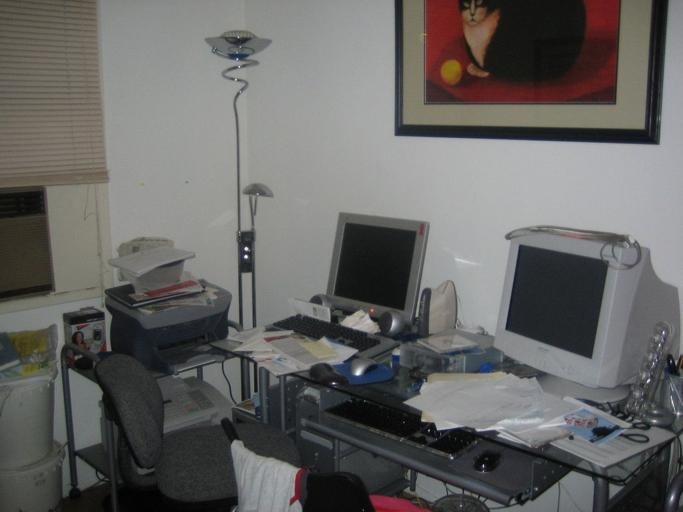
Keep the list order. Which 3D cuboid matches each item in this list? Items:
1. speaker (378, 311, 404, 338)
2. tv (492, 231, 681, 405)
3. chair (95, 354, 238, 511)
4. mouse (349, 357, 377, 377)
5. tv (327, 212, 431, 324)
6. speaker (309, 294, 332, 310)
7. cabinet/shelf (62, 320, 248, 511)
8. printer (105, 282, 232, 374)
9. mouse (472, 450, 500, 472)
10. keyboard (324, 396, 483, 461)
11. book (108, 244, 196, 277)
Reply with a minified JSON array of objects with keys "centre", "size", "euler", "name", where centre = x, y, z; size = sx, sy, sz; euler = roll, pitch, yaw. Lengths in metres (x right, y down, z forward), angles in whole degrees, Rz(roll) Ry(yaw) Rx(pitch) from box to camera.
[{"centre":[0.226,0.302,2.528],"size":[0.080,0.115,0.101],"euler":[-2,10,-18],"name":"speaker"},{"centre":[0.960,0.100,2.329],"size":[0.566,0.710,0.681],"euler":[-10,12,-35],"name":"tv"},{"centre":[-0.709,0.604,2.244],"size":[0.415,0.626,0.376],"euler":[-11,28,-23],"name":"chair"},{"centre":[0.078,0.431,2.244],"size":[0.052,0.029,0.089],"euler":[20,35,34],"name":"mouse"},{"centre":[0.180,0.067,2.682],"size":[0.464,0.445,0.052],"euler":[10,1,39],"name":"tv"},{"centre":[-0.106,0.219,2.822],"size":[0.085,0.070,0.124],"euler":[20,11,-2],"name":"speaker"},{"centre":[-0.859,0.714,2.537],"size":[0.730,0.931,0.521],"euler":[-13,22,-41],"name":"cabinet/shelf"},{"centre":[-0.866,0.333,2.837],"size":[0.448,0.364,0.534],"euler":[10,13,34],"name":"printer"},{"centre":[0.511,0.712,1.943],"size":[0.119,0.038,0.060],"euler":[-8,12,-39],"name":"mouse"},{"centre":[0.233,0.637,2.081],"size":[0.497,0.034,0.163],"euler":[8,21,44],"name":"keyboard"},{"centre":[-0.955,0.034,2.757],"size":[0.334,0.144,0.334],"euler":[-8,13,-39],"name":"book"}]
